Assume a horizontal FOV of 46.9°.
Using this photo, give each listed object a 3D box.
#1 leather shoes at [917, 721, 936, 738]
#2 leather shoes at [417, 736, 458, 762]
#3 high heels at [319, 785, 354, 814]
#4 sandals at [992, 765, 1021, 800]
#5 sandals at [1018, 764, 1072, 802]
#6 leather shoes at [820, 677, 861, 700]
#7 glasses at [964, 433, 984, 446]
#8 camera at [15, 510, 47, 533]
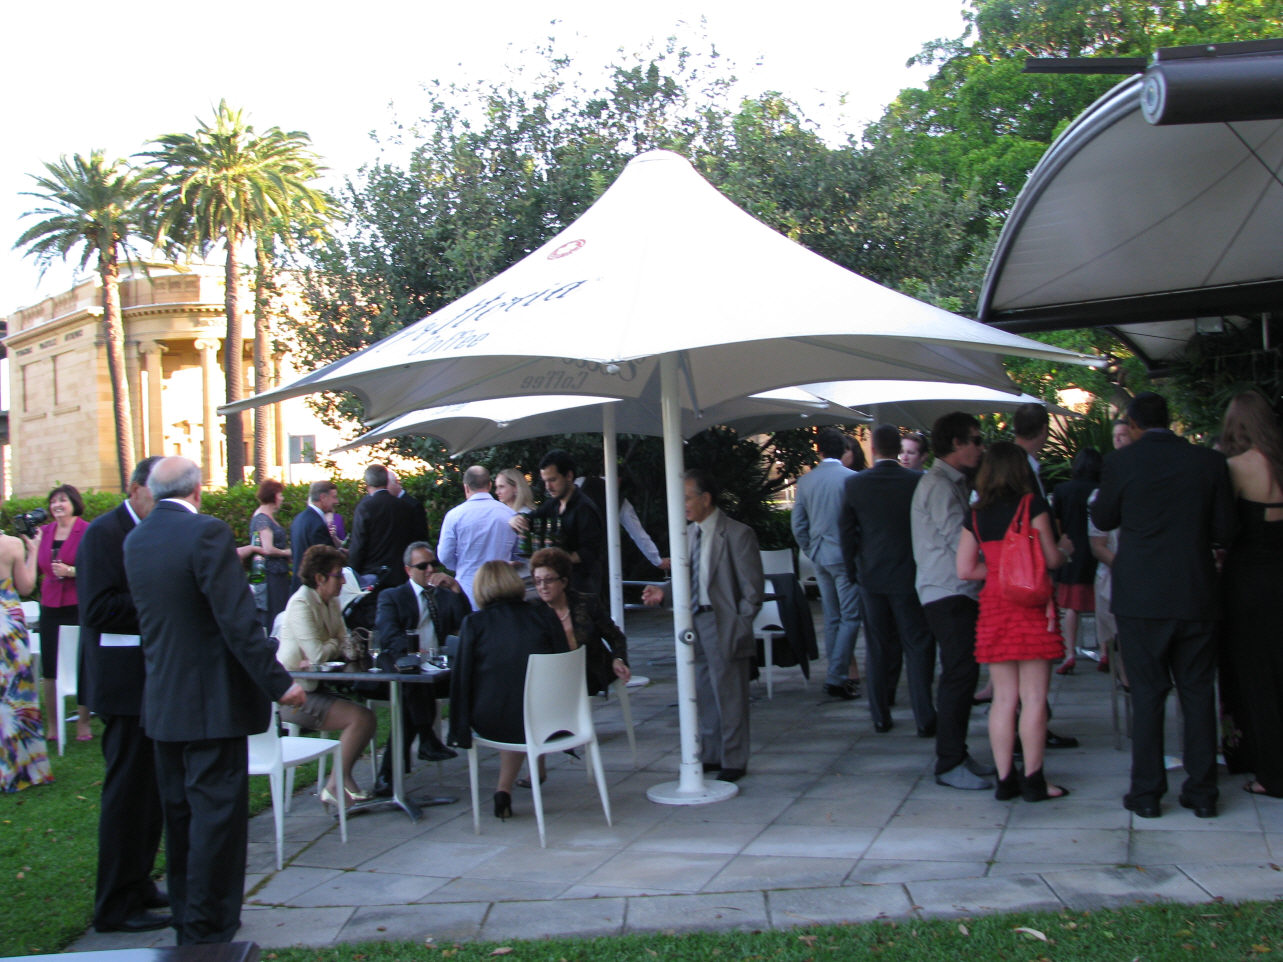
[{"bbox_3d":[2.119,1.822,10.966,0.111,0.119,0.138,1,-13,2],"label":"leather shoes"},{"bbox_3d":[-1.523,1.978,11.008,0.271,0.114,0.154,-7,-5,43],"label":"leather shoes"},{"bbox_3d":[-2.068,2.097,9.848,0.161,0.112,0.294,10,4,14],"label":"high heels"},{"bbox_3d":[2.362,1.925,9.474,0.095,0.192,0.289,4,9,28],"label":"sandals"},{"bbox_3d":[2.597,1.904,9.437,0.374,0.241,0.142,-3,5,-26],"label":"sandals"},{"bbox_3d":[1.787,1.804,12.953,0.369,0.150,0.121,-2,6,-44],"label":"leather shoes"},{"bbox_3d":[2.256,-0.285,9.975,0.117,0.056,0.116,-2,9,4],"label":"glasses"},{"bbox_3d":[-4.775,0.311,11.380,0.256,0.178,0.123,-1,6,7],"label":"camera"}]
